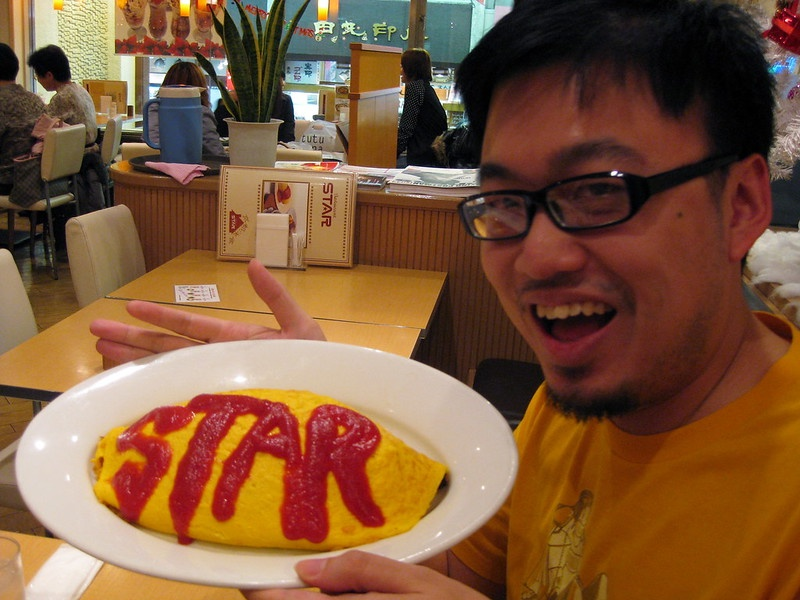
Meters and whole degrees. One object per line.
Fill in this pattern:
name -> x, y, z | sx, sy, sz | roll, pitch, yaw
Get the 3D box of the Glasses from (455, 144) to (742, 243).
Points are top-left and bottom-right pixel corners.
Glasses -> 0.288, -0.151, 0.940 | 0.197, 0.118, 0.336 | -4, 23, -31

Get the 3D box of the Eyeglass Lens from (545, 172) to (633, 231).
Eyeglass Lens -> 0.275, -0.138, 0.878 | 0.131, 0.090, 0.016 | 9, 18, 19

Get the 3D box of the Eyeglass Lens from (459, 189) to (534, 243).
Eyeglass Lens -> 0.174, -0.144, 0.992 | 0.087, 0.028, 0.089 | 9, 20, 40
